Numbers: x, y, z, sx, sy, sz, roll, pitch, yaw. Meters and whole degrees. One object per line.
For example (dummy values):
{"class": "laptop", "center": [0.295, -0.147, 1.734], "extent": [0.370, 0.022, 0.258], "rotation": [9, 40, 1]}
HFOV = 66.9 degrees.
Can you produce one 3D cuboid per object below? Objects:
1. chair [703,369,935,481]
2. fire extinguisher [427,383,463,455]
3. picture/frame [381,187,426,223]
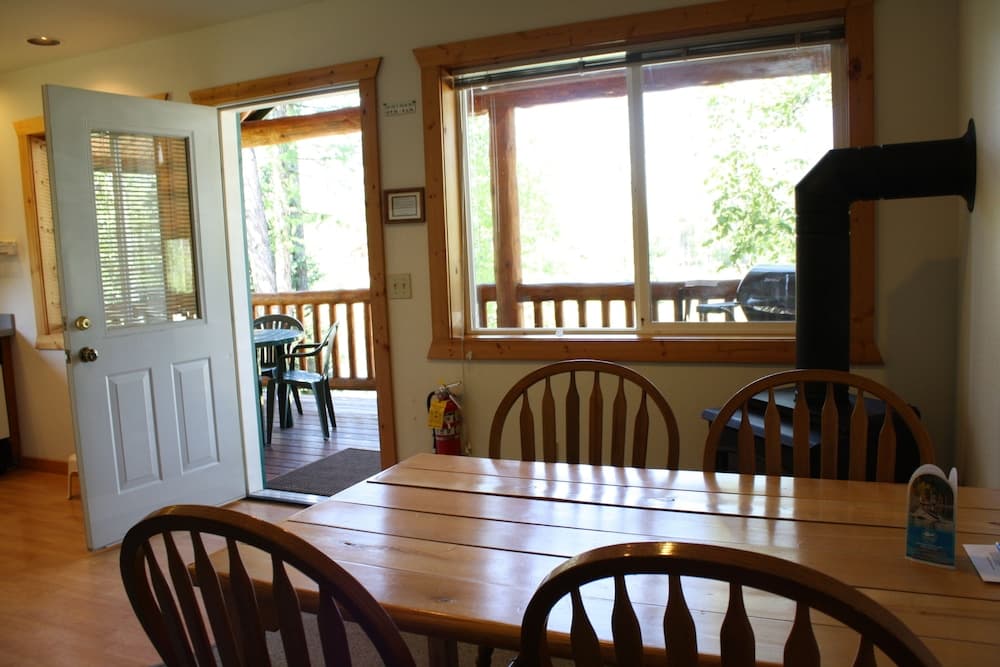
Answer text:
{"class": "chair", "center": [1.277, 0.372, 2.965], "extent": [0.346, 0.473, 0.492], "rotation": [1, 3, -9]}
{"class": "fire extinguisher", "center": [-0.331, 0.503, 4.176], "extent": [0.219, 0.380, 0.300], "rotation": [-1, 12, 5]}
{"class": "picture/frame", "center": [-0.541, -0.722, 4.259], "extent": [0.209, 0.156, 0.021], "rotation": [3, 7, 19]}
